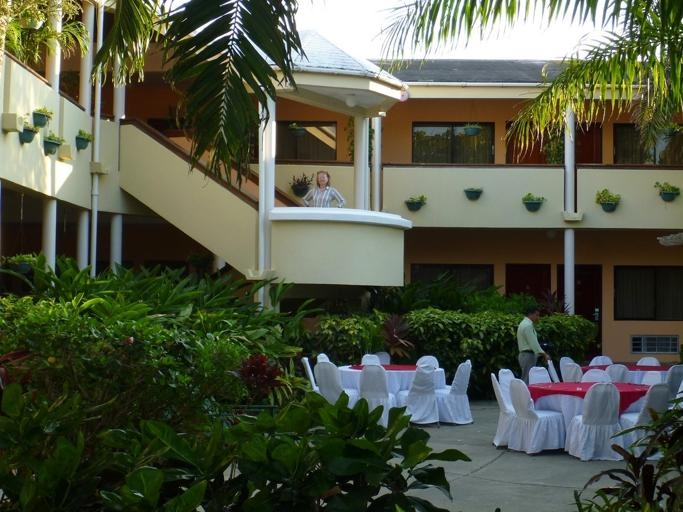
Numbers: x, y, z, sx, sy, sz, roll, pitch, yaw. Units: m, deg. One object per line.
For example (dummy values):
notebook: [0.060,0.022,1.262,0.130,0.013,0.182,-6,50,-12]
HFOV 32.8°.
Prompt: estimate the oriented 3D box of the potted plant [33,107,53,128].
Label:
potted plant: [-4.512,-2.071,17.546,0.236,0.357,0.309,-1,1,22]

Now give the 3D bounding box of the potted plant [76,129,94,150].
potted plant: [-4.203,-1.870,19.092,0.250,0.382,0.344,1,3,6]

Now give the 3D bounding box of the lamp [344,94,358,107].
lamp: [0.162,-2.636,19.902,0.139,0.175,0.146,-8,7,-11]

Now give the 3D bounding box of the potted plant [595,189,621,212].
potted plant: [5.386,-1.114,23.450,0.397,0.473,0.442,2,-12,-1]

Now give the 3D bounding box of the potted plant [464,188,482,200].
potted plant: [2.657,-1.229,23.519,0.262,0.218,0.241,-1,-2,3]

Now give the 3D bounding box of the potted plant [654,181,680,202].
potted plant: [6.591,-1.271,23.489,0.392,0.297,0.362,10,-9,-44]

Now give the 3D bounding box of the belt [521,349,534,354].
belt: [2.946,1.510,18.259,0.126,0.076,0.311,5,-7,-27]

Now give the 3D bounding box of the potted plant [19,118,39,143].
potted plant: [-4.636,-1.840,17.162,0.233,0.276,0.304,5,0,9]

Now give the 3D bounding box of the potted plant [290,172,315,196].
potted plant: [-0.789,-1.393,22.463,0.361,0.492,0.419,3,6,7]

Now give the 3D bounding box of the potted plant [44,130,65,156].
potted plant: [-4.487,-1.716,17.992,0.267,0.325,0.357,3,-5,12]

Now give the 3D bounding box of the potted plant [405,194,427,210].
potted plant: [1.490,-1.039,23.333,0.291,0.249,0.318,1,-2,-7]

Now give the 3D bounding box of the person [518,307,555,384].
person: [3.045,1.586,18.451,0.449,1.645,0.487,-1,11,5]

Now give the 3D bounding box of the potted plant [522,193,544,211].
potted plant: [3.859,-1.066,23.391,0.414,0.374,0.319,2,-11,2]
